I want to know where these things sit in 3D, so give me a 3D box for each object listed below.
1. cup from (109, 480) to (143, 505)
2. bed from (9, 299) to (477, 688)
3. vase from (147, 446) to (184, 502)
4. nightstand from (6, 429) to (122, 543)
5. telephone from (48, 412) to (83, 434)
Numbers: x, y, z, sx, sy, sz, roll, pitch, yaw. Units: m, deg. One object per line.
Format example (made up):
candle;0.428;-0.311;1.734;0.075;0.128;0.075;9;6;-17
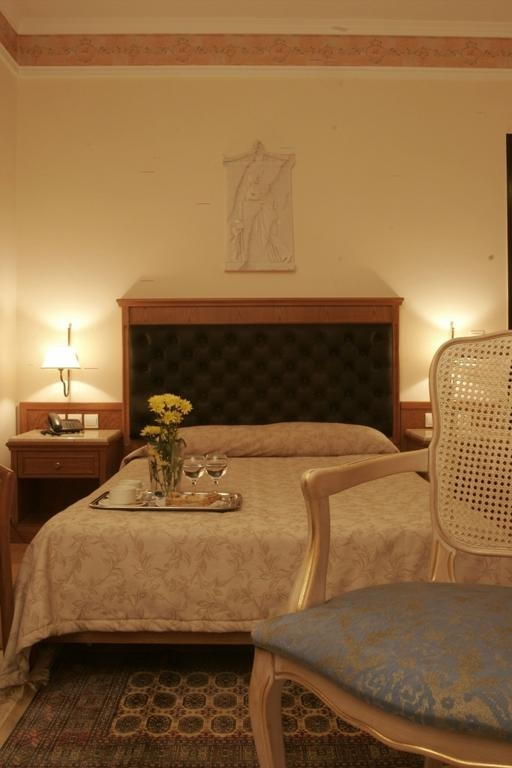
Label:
cup;-0.396;0.325;1.904;0.082;0.036;0.052;1;3;36
bed;-0.027;0.227;2.324;1.158;0.922;1.440;-1;-5;3
vase;-0.284;0.280;1.997;0.118;0.171;0.111;-10;-26;11
nightstand;-0.967;0.427;3.211;0.648;0.628;0.518;0;-2;0
telephone;-0.951;0.195;3.199;0.124;0.052;0.131;0;35;-32
